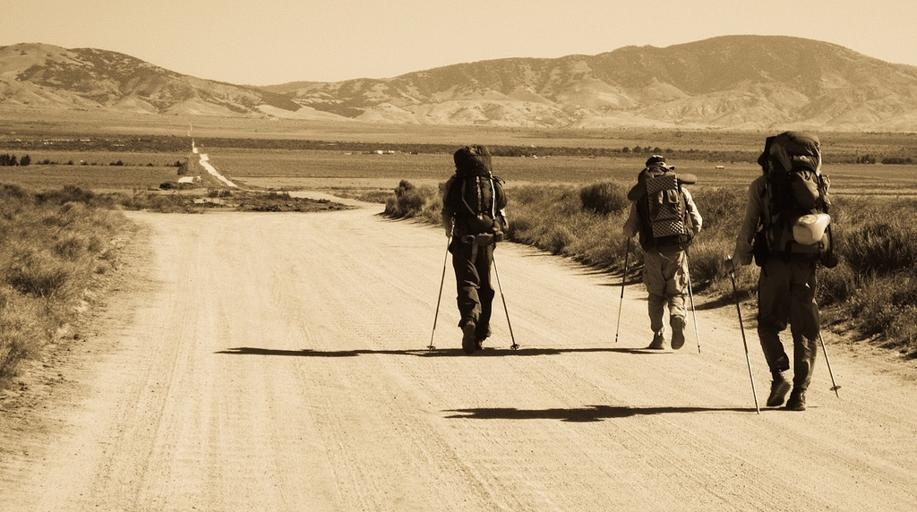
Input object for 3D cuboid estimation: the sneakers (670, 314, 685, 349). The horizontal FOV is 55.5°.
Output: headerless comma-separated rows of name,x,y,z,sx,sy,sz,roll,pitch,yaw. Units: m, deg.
sneakers,4.141,1.459,16.694,0.272,0.655,0.288,0,-5,7
